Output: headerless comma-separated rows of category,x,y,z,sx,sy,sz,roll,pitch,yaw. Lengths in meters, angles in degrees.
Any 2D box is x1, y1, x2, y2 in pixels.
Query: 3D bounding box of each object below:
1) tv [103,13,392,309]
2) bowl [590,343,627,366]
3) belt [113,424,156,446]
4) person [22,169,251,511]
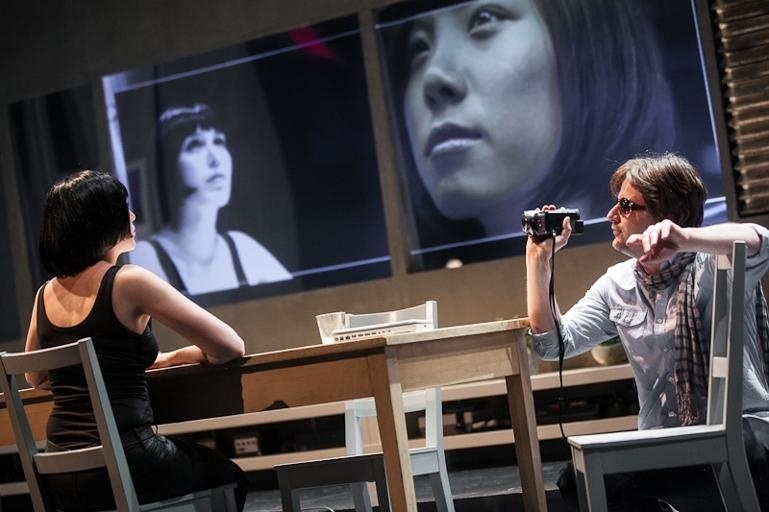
tv,-0.775,-0.587,5.354,1.911,1.572,0.121,-6,1,18
bowl,1.275,0.547,4.794,0.148,0.098,0.137,-4,-4,0
belt,-0.889,0.640,3.030,0.033,0.067,0.129,-14,-7,38
person,-0.939,0.341,3.123,0.771,1.326,0.339,-9,-5,-12
